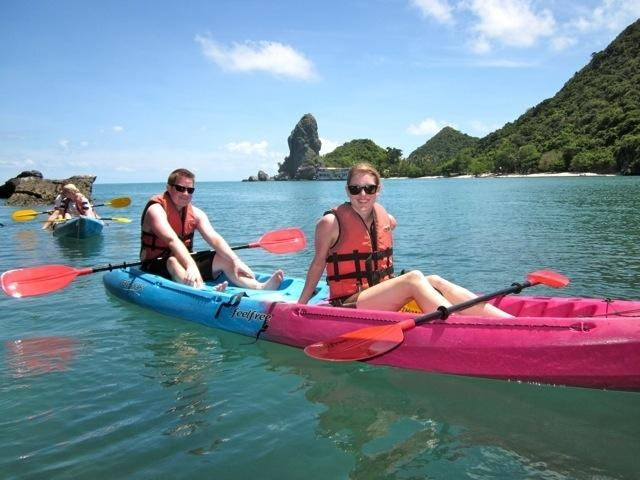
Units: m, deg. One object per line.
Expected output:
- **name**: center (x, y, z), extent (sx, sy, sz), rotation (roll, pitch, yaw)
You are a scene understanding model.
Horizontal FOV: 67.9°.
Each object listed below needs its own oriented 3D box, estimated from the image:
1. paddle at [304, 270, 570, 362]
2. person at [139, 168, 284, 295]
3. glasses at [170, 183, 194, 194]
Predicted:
- **paddle**: center (1.026, 0.738, 4.482), extent (3.465, 0.113, 0.586), rotation (-8, 11, -10)
- **person**: center (-1.517, -0.022, 6.147), extent (2.055, 1.101, 1.079), rotation (24, 17, 36)
- **glasses**: center (-1.784, -0.654, 6.177), extent (0.273, 0.119, 0.294), rotation (-1, 6, -14)
